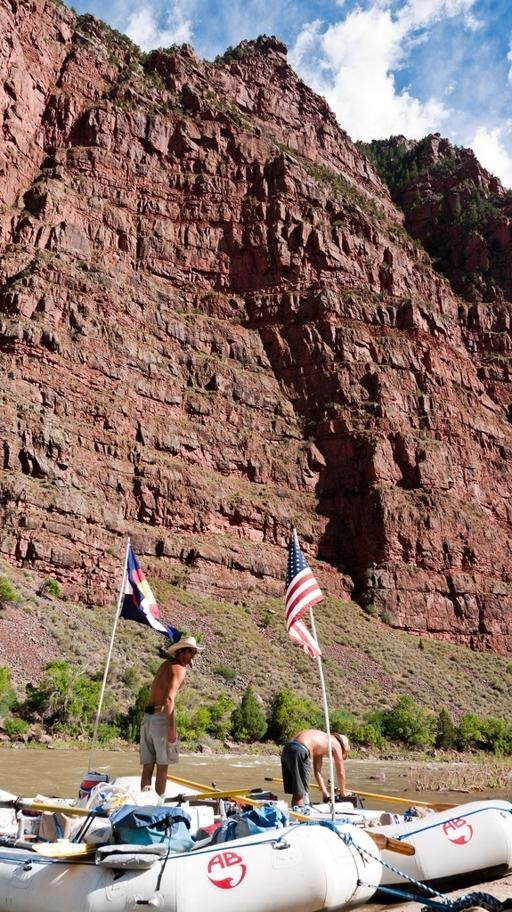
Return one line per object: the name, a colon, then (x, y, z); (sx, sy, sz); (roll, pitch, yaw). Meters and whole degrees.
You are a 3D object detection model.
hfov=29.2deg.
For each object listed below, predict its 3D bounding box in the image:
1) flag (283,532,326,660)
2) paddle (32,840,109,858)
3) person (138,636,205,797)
flag: (0.552, 1.544, 11.092); (0.388, 1.484, 0.883); (-1, -16, 3)
paddle: (-1.618, 3.342, 8.304); (0.366, 0.075, 0.218); (7, -8, 6)
person: (-0.957, 2.826, 10.810); (0.586, 1.756, 1.530); (1, -16, -6)
